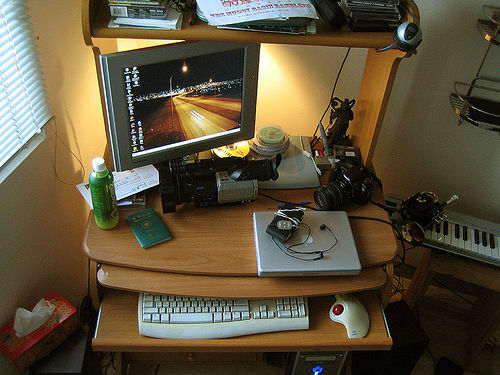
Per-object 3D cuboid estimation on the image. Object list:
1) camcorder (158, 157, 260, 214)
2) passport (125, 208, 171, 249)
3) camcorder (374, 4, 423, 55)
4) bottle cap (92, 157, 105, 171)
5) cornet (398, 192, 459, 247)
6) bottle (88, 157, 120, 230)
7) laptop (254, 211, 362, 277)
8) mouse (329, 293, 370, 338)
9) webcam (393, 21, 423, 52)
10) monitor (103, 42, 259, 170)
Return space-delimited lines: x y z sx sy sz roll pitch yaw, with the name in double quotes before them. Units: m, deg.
"camcorder" -0.168 -0.047 1.665 0.434 0.231 0.191 -6 35 -12
"passport" -0.402 0.160 1.526 0.130 0.024 0.177 -22 49 -35
"camcorder" 0.508 -0.517 1.328 0.053 0.116 0.129 -4 16 -25
"bottle cap" -0.553 -0.079 1.427 0.041 0.031 0.042 25 43 8
"cornet" 0.801 0.115 1.800 0.197 0.106 0.266 35 68 30
"bottle" -0.545 0.033 1.447 0.086 0.284 0.057 -14 34 -23
"laptop" 0.220 0.226 1.527 0.402 0.146 0.257 -2 33 -5
"mouse" 0.381 0.486 1.515 0.184 0.053 0.150 33 53 19
"webcam" 0.538 -0.508 1.369 0.085 0.101 0.075 16 9 -7
"monitor" -0.266 -0.346 1.534 0.632 0.475 0.090 -19 45 -28
